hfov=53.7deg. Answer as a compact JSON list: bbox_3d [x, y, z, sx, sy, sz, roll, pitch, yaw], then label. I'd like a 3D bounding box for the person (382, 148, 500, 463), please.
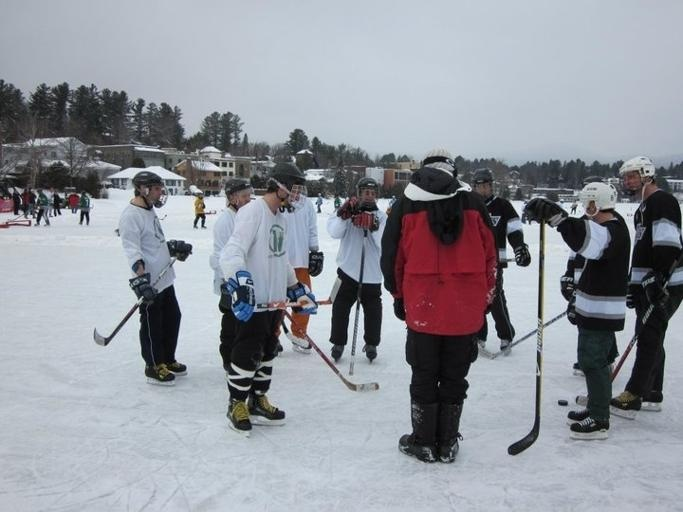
[{"bbox_3d":[0.823,0.507,5.912,0.955,2.530,0.446,2,7,13],"label":"person"}]

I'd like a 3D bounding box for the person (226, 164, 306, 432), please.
[{"bbox_3d":[-0.745,0.367,6.419,0.471,2.477,0.980,5,9,33],"label":"person"}]

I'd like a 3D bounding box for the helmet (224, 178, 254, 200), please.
[{"bbox_3d":[-1.178,-0.753,7.599,0.238,0.097,0.189,-8,9,10],"label":"helmet"}]

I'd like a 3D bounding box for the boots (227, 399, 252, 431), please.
[{"bbox_3d":[-0.956,1.485,6.299,0.223,0.291,0.239,-1,8,-9],"label":"boots"}]

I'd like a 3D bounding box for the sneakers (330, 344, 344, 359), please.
[{"bbox_3d":[-0.057,1.143,8.081,0.083,0.258,0.111,3,-6,7],"label":"sneakers"}]

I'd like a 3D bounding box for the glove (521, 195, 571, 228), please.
[{"bbox_3d":[1.796,-0.417,6.082,0.293,0.143,0.305,26,-12,-13],"label":"glove"}]

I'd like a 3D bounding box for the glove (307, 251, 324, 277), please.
[{"bbox_3d":[-0.319,0.087,8.443,0.194,0.296,0.278,-3,-1,-3],"label":"glove"}]

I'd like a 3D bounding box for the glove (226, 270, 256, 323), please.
[{"bbox_3d":[-0.907,0.378,6.075,0.260,0.483,0.215,-2,8,-16],"label":"glove"}]

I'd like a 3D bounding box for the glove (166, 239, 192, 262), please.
[{"bbox_3d":[-1.836,-0.059,7.661,0.265,0.137,0.213,10,-32,26],"label":"glove"}]

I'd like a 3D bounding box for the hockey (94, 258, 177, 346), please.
[{"bbox_3d":[-2.590,0.609,8.441,0.255,1.165,0.068,26,-22,21],"label":"hockey"}]

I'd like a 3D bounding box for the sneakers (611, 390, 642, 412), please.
[{"bbox_3d":[2.782,1.427,6.674,0.375,0.190,0.145,3,0,19],"label":"sneakers"}]

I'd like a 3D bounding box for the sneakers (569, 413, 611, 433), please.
[{"bbox_3d":[2.293,1.556,6.301,0.347,0.238,0.158,3,-3,1],"label":"sneakers"}]

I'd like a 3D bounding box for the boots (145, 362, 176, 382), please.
[{"bbox_3d":[-1.954,1.242,7.238,0.345,0.216,0.144,2,2,10],"label":"boots"}]

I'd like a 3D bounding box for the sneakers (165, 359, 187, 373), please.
[{"bbox_3d":[-1.812,1.220,7.459,0.249,0.145,0.098,7,8,4],"label":"sneakers"}]

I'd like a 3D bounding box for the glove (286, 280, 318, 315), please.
[{"bbox_3d":[-0.411,0.440,6.842,0.292,0.191,0.421,-6,38,-21],"label":"glove"}]

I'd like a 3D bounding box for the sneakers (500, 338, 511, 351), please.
[{"bbox_3d":[2.007,1.080,8.227,0.076,0.179,0.244,-2,-15,7],"label":"sneakers"}]

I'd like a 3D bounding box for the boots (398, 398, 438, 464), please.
[{"bbox_3d":[0.686,1.540,6.075,0.245,0.524,0.507,0,0,-23],"label":"boots"}]

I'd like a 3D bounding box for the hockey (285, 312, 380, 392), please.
[{"bbox_3d":[-0.104,1.137,7.866,1.195,0.169,0.194,46,1,43],"label":"hockey"}]

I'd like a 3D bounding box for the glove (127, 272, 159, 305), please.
[{"bbox_3d":[-2.035,0.321,7.011,0.334,0.145,0.237,43,-33,0],"label":"glove"}]

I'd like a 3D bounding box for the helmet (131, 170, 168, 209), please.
[{"bbox_3d":[-2.103,-0.721,7.380,0.365,0.406,0.301,-1,1,12],"label":"helmet"}]

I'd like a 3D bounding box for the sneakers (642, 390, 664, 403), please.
[{"bbox_3d":[3.096,1.388,6.714,0.315,0.148,0.104,2,-14,-45],"label":"sneakers"}]

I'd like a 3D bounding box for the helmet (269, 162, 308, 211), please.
[{"bbox_3d":[-0.514,-0.674,6.508,0.400,0.460,0.335,6,-1,-8],"label":"helmet"}]

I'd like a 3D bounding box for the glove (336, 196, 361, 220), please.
[{"bbox_3d":[0.080,-0.564,8.083,0.111,0.264,0.263,34,16,-19],"label":"glove"}]

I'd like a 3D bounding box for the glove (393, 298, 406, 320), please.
[{"bbox_3d":[0.518,0.487,6.094,0.117,0.179,0.152,8,-8,2],"label":"glove"}]

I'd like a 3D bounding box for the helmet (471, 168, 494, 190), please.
[{"bbox_3d":[1.740,-0.989,8.382,0.190,0.251,0.257,-5,-20,16],"label":"helmet"}]

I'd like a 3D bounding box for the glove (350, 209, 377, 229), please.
[{"bbox_3d":[0.279,-0.423,8.001,0.215,0.105,0.224,17,-17,0],"label":"glove"}]

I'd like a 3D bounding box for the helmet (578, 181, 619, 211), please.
[{"bbox_3d":[2.430,-0.586,6.401,0.294,0.256,0.249,-7,14,-3],"label":"helmet"}]

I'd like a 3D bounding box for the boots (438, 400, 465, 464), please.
[{"bbox_3d":[0.938,1.561,6.126,0.255,0.586,0.555,1,4,1],"label":"boots"}]

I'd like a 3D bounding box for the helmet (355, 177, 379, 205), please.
[{"bbox_3d":[0.297,-0.787,8.104,0.221,0.314,0.295,5,12,-1],"label":"helmet"}]

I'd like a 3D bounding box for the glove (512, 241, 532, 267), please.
[{"bbox_3d":[2.179,-0.026,8.214,0.205,0.283,0.117,-4,4,8],"label":"glove"}]

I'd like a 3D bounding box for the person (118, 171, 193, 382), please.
[{"bbox_3d":[-2.032,0.203,7.307,0.656,2.220,0.861,0,7,-3],"label":"person"}]
